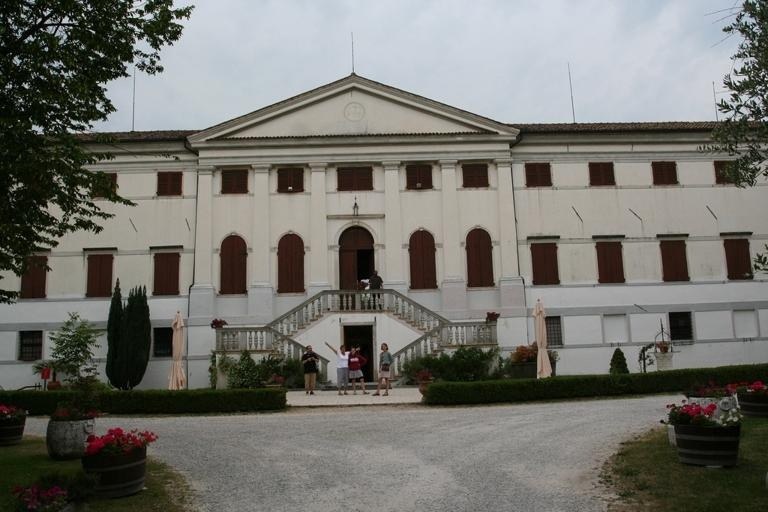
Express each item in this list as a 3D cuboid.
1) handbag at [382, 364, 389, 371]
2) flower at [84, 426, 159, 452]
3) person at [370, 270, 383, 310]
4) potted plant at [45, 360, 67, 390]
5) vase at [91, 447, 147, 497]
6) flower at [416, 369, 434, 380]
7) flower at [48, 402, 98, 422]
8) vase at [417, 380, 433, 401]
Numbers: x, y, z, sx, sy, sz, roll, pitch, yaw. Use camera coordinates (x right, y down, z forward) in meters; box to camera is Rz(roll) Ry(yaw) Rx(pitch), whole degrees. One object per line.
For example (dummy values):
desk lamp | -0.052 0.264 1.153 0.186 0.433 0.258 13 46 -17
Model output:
handbag | 0.034 4.453 28.371 0.335 0.258 0.251 -1 -1 -14
flower | -6.109 4.277 16.363 1.342 0.637 1.021 3 -5 -22
person | -0.397 1.601 33.526 0.657 1.042 2.112 -1 0 -1
potted plant | -15.053 5.446 32.401 1.138 1.412 1.111 1 -11 -8
vase | -5.956 4.923 15.945 0.929 0.764 1.037 0 -12 -4
flower | 1.571 4.537 27.573 0.682 0.485 0.702 -1 -16 8
flower | -8.041 4.089 18.473 0.667 0.284 0.643 6 -10 -7
vase | 1.557 5.095 26.970 0.603 0.668 0.602 4 -13 -21
